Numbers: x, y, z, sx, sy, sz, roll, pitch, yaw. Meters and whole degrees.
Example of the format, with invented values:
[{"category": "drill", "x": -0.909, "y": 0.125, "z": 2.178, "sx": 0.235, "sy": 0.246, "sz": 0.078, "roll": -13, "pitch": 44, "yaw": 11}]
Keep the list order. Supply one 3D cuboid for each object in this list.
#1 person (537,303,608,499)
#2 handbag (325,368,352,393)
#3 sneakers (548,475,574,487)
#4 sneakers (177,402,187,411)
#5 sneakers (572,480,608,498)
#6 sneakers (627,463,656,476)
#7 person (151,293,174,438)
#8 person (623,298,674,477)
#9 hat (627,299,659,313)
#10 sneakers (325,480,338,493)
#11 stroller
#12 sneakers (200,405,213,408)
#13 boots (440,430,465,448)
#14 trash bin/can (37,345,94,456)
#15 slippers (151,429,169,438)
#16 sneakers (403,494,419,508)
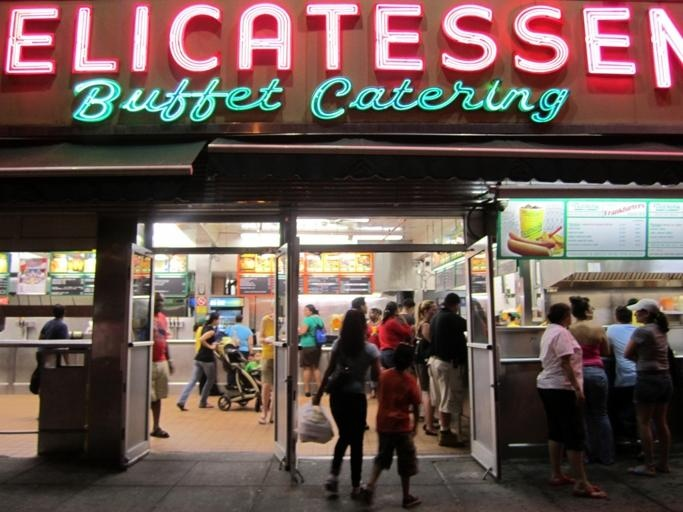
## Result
[{"category": "person", "x": 2.731, "y": 1.677, "z": 7.348, "sx": 0.705, "sy": 2.182, "sz": 0.628, "roll": 0, "pitch": 1, "yaw": 14}, {"category": "handbag", "x": -0.025, "y": 1.464, "z": 7.138, "sx": 0.216, "sy": 0.269, "sz": 0.107, "roll": 43, "pitch": 23, "yaw": 12}, {"category": "sneakers", "x": 2.643, "y": 2.703, "z": 7.390, "sx": 0.336, "sy": 0.139, "sz": 0.119, "roll": 1, "pitch": -11, "yaw": -13}, {"category": "sneakers", "x": -2.986, "y": 2.807, "z": 11.382, "sx": 0.155, "sy": 0.071, "sz": 0.204, "roll": -32, "pitch": -45, "yaw": 12}, {"category": "sneakers", "x": 2.845, "y": 2.690, "z": 7.088, "sx": 0.415, "sy": 0.295, "sz": 0.168, "roll": -4, "pitch": -9, "yaw": 11}, {"category": "sneakers", "x": 3.762, "y": 2.680, "z": 7.673, "sx": 0.263, "sy": 0.104, "sz": 0.145, "roll": 4, "pitch": -4, "yaw": 30}, {"category": "person", "x": -2.782, "y": 1.714, "z": 9.394, "sx": 0.319, "sy": 2.193, "sz": 0.696, "roll": -1, "pitch": 1, "yaw": -12}, {"category": "person", "x": 3.890, "y": 1.647, "z": 7.751, "sx": 0.516, "sy": 2.161, "sz": 0.444, "roll": 0, "pitch": 1, "yaw": 22}, {"category": "hat", "x": 3.936, "y": 0.645, "z": 7.916, "sx": 0.461, "sy": 0.170, "sz": 0.297, "roll": -1, "pitch": -1, "yaw": 31}, {"category": "sneakers", "x": -0.101, "y": 2.739, "z": 7.279, "sx": 0.139, "sy": 0.179, "sz": 0.178, "roll": -1, "pitch": -14, "yaw": 2}, {"category": "stroller", "x": -1.955, "y": 2.204, "z": 11.740, "sx": 1.041, "sy": 1.330, "sz": 0.922, "roll": 0, "pitch": 0, "yaw": -31}, {"category": "sneakers", "x": -2.576, "y": 2.894, "z": 11.731, "sx": 0.182, "sy": 0.071, "sz": 0.087, "roll": -2, "pitch": -4, "yaw": 1}, {"category": "boots", "x": 1.597, "y": 2.652, "z": 8.878, "sx": 0.394, "sy": 0.225, "sz": 0.180, "roll": 0, "pitch": -3, "yaw": -7}, {"category": "trash bin/can", "x": -4.279, "y": 2.201, "z": 8.993, "sx": 0.870, "sy": 1.492, "sz": 0.880, "roll": 1, "pitch": -2, "yaw": -7}, {"category": "slippers", "x": -2.790, "y": 2.731, "z": 9.420, "sx": 0.258, "sy": 0.107, "sz": 0.128, "roll": -1, "pitch": -4, "yaw": 4}, {"category": "sneakers", "x": 0.787, "y": 2.814, "z": 7.015, "sx": 0.234, "sy": 0.098, "sz": 0.099, "roll": 2, "pitch": -8, "yaw": -19}]
